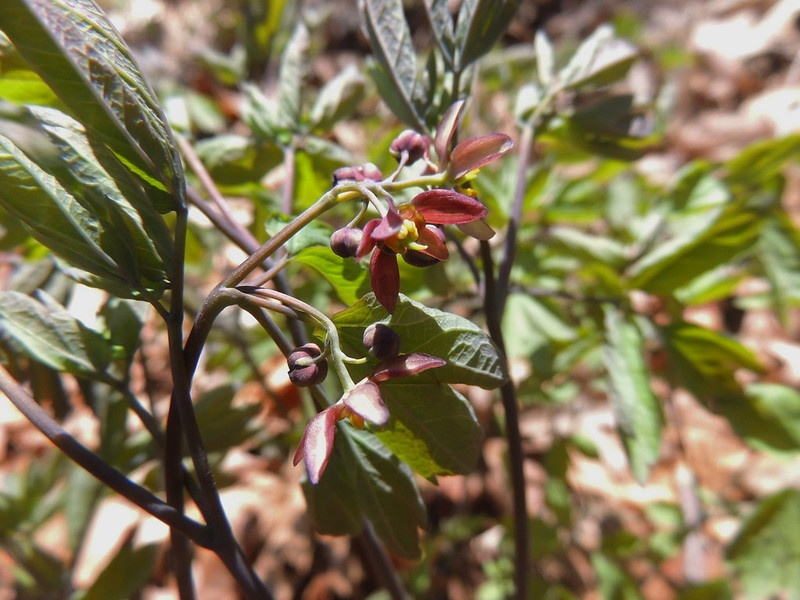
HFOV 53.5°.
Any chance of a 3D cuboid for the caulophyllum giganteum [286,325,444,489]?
[{"bbox_3d":[-0.053,0.144,1.192,0.247,0.216,0.115,-13,-15,-10],"label":"caulophyllum giganteum"}]
